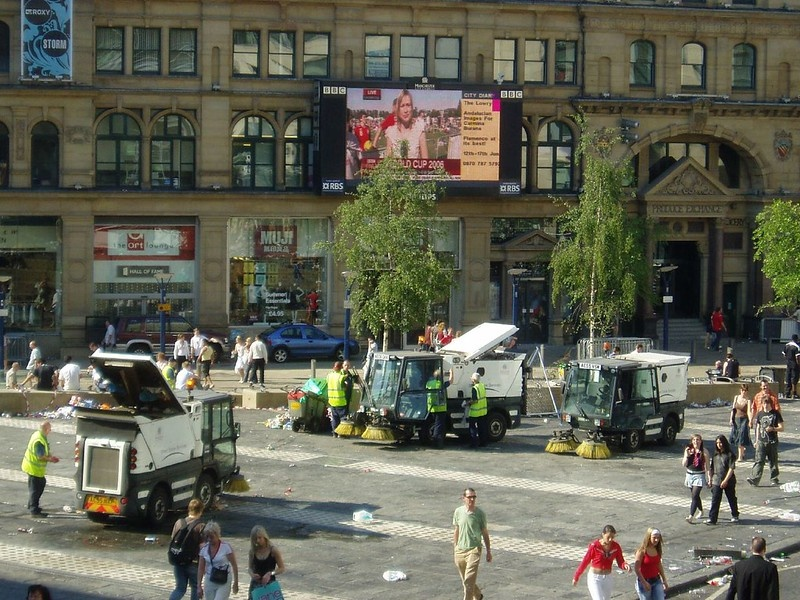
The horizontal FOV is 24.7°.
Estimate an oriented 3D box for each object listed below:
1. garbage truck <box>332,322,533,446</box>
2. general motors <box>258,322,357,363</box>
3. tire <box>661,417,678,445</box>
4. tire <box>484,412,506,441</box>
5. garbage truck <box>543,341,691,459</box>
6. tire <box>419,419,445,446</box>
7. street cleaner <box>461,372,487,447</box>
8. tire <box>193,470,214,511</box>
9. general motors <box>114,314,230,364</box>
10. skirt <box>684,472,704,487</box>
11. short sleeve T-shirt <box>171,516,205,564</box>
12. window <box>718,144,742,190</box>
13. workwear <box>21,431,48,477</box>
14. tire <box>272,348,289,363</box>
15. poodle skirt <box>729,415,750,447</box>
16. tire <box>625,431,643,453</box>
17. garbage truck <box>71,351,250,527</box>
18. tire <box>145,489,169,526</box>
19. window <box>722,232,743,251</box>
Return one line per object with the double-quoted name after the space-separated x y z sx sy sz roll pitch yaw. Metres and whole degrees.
1.131 2.997 63.460 5.685 3.493 3.480 0 -3 -28 "garbage truck"
-3.760 1.804 77.158 3.724 1.345 1.667 -3 3 -14 "general motors"
9.268 4.502 62.916 0.318 0.881 0.881 10 10 35 "tire"
3.236 4.346 62.844 0.877 0.876 0.303 18 -5 -36 "tire"
7.626 3.469 62.900 3.811 2.332 3.029 0 -1 -41 "garbage truck"
1.086 4.470 61.876 0.789 0.790 0.278 10 8 -33 "tire"
2.621 3.748 61.961 0.660 2.534 1.279 -1 -1 2 "street cleaner"
-5.846 5.623 54.280 0.366 1.046 1.048 4 -14 29 "tire"
-9.444 1.683 75.387 4.208 1.774 1.958 -2 2 -16 "general motors"
9.026 5.534 55.668 0.622 0.482 0.389 -5 -14 38 "skirt"
-5.736 6.590 49.612 0.968 1.308 0.722 11 -6 31 "short sleeve T-shirt"
15.180 -6.117 83.877 1.697 1.769 0.423 15 -3 -7 "window"
-10.932 4.651 54.914 0.733 1.418 1.049 -1 -1 -12 "workwear"
-5.011 2.297 76.473 0.534 0.535 0.176 7 10 -21 "tire"
11.442 4.420 61.342 0.987 1.166 0.808 1 0 15 "poodle skirt"
7.902 4.791 61.799 0.247 0.701 0.700 9 12 39 "tire"
-7.271 4.172 54.410 4.619 5.177 1.587 0 -1 -39 "garbage truck"
-7.170 6.128 53.854 0.389 1.208 0.956 -1 -1 34 "tire"
15.180 -2.707 83.496 0.802 1.136 0.157 -4 12 -5 "window"
